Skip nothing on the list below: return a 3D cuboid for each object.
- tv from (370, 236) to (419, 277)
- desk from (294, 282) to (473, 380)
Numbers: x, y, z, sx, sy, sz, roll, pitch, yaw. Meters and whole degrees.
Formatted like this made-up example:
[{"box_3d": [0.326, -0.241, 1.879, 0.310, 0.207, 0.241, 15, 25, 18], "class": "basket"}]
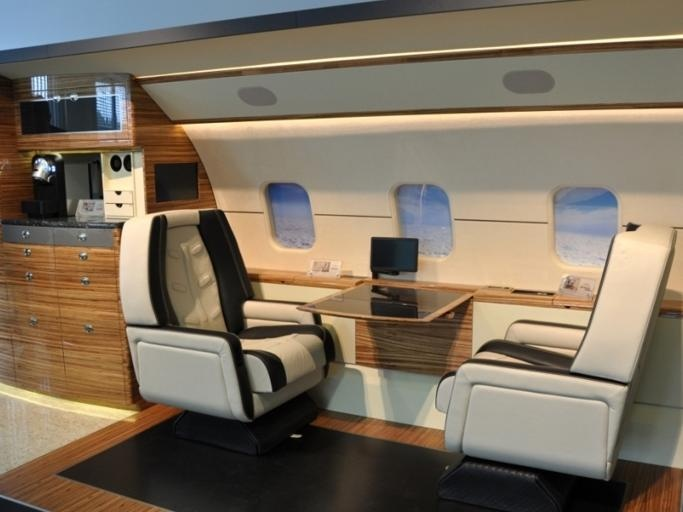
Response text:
[{"box_3d": [0.410, 0.000, 3.766, 0.339, 0.304, 0.098, 2, 0, 17], "class": "tv"}, {"box_3d": [0.297, 0.540, 3.168, 0.805, 0.514, 0.852, 5, 12, 28], "class": "desk"}]
